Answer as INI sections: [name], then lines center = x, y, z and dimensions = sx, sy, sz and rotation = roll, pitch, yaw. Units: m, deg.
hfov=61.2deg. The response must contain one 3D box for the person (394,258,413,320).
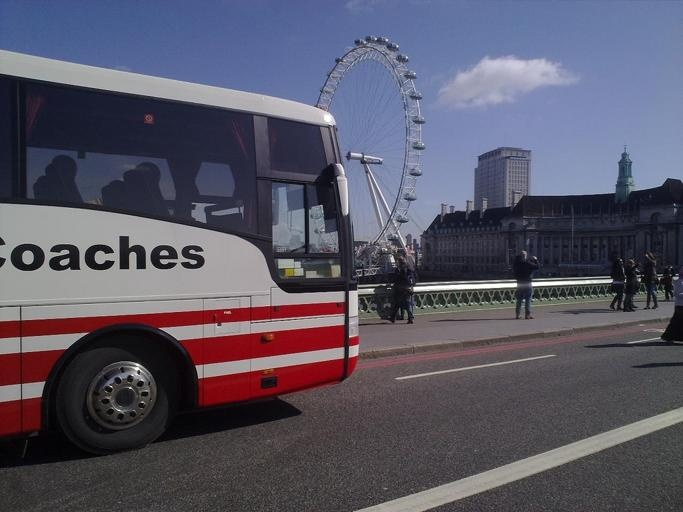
[person]
center = 1.575, 0.885, 15.349
dimensions = 0.584, 1.733, 0.788
rotation = 0, 1, 7
